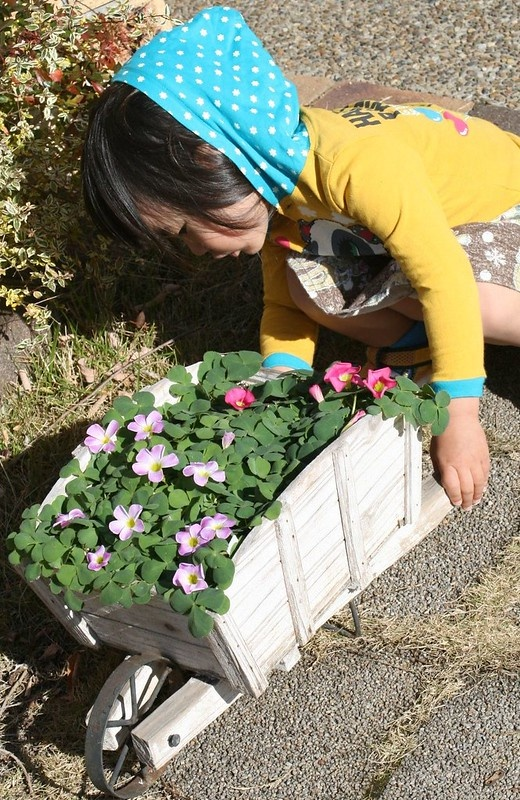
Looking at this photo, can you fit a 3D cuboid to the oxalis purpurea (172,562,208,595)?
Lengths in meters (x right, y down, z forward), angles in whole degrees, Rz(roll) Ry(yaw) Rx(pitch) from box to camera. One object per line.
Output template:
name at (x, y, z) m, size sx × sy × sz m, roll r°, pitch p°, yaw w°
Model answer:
oxalis purpurea at (-0.089, 0.228, 0.926) m, size 0.038 × 0.018 × 0.038 m, roll -43°, pitch 68°, yaw -1°

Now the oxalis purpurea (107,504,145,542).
oxalis purpurea at (-0.183, 0.170, 1.011) m, size 0.046 × 0.023 × 0.049 m, roll -37°, pitch 79°, yaw 5°

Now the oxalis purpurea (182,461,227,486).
oxalis purpurea at (-0.078, 0.105, 1.035) m, size 0.043 × 0.016 × 0.043 m, roll 35°, pitch 36°, yaw 19°

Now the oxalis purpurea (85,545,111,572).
oxalis purpurea at (-0.223, 0.222, 1.012) m, size 0.035 × 0.020 × 0.038 m, roll -7°, pitch 39°, yaw 1°

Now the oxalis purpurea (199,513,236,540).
oxalis purpurea at (-0.057, 0.170, 0.973) m, size 0.037 × 0.012 × 0.036 m, roll -31°, pitch 48°, yaw -31°

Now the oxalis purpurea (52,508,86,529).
oxalis purpurea at (-0.279, 0.171, 1.074) m, size 0.036 × 0.013 × 0.036 m, roll -34°, pitch 27°, yaw -24°

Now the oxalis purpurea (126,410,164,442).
oxalis purpurea at (-0.176, 0.040, 1.133) m, size 0.052 × 0.021 × 0.050 m, roll 9°, pitch 62°, yaw 17°

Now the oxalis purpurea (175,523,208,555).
oxalis purpurea at (-0.091, 0.186, 0.970) m, size 0.041 × 0.017 × 0.041 m, roll -41°, pitch 70°, yaw 7°
